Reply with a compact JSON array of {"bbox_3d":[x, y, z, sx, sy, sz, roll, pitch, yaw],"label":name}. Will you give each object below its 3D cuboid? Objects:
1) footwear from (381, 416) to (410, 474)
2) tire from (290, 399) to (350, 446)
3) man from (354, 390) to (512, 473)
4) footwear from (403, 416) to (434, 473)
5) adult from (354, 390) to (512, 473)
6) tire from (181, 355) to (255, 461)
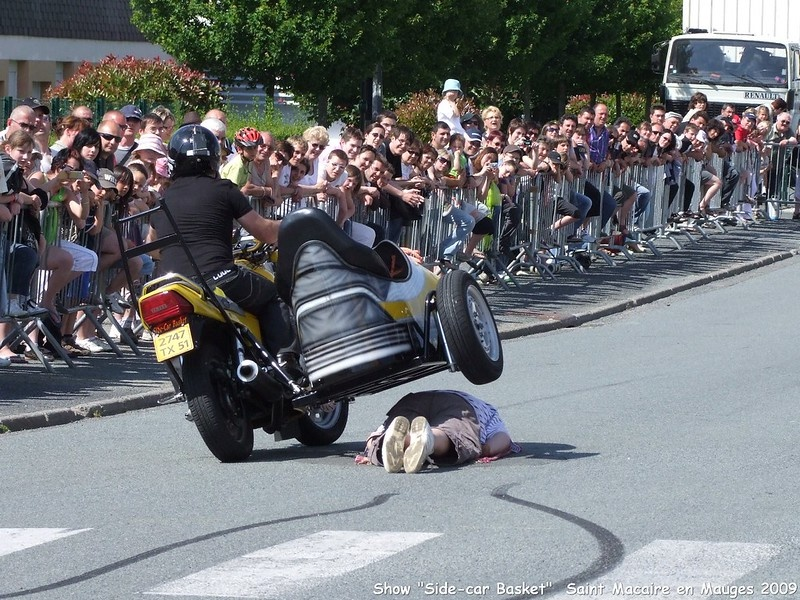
[{"bbox_3d":[-0.030,0.936,7.809,0.141,0.396,0.154,14,-22,-3],"label":"footwear"},{"bbox_3d":[-0.598,0.882,8.627,0.335,0.341,0.128,-19,-4,-45],"label":"tire"},{"bbox_3d":[0.298,0.782,7.951,0.544,0.255,0.759,2,5,28],"label":"man"},{"bbox_3d":[0.122,0.935,7.752,0.219,0.369,0.194,-4,7,-14],"label":"footwear"},{"bbox_3d":[0.241,0.876,7.899,0.544,0.255,0.759,2,5,28],"label":"adult"},{"bbox_3d":[-1.200,0.697,7.929,0.159,0.493,0.556,-22,30,14],"label":"tire"}]
